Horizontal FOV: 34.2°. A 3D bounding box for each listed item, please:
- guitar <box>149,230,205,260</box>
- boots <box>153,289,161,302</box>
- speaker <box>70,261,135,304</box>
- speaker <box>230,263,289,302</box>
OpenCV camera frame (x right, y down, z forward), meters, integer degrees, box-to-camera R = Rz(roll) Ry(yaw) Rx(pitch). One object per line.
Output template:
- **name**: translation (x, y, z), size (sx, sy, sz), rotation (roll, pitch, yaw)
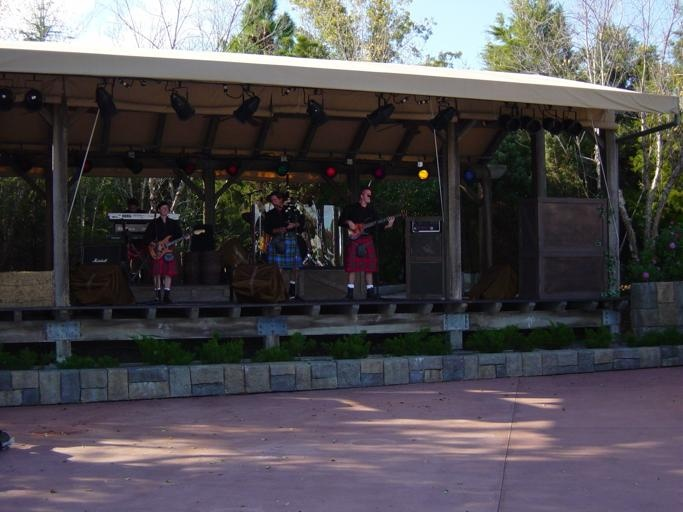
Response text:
- **guitar**: translation (-2.654, -0.206, 17.528), size (0.756, 0.622, 1.310), rotation (-1, -7, 0)
- **boots**: translation (-2.889, 0.587, 17.166), size (0.075, 0.202, 0.178), rotation (-2, 7, 2)
- **speaker**: translation (-3.622, 0.311, 17.056), size (0.985, 0.600, 1.312), rotation (-5, 13, -6)
- **speaker**: translation (-1.392, 0.270, 16.907), size (0.653, 0.496, 0.538), rotation (0, 24, -23)
